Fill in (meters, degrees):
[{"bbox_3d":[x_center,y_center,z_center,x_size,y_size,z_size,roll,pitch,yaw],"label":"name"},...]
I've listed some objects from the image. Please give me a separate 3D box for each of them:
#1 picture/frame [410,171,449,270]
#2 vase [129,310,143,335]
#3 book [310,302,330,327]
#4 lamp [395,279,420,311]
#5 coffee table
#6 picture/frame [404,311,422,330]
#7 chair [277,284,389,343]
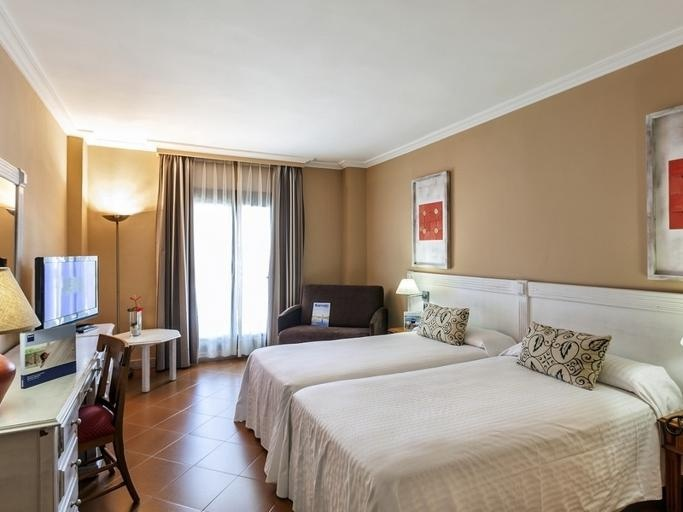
[{"bbox_3d":[1.109,-0.413,5.638,0.093,1.136,0.656,-2,1,-27],"label":"picture/frame"},{"bbox_3d":[-2.423,0.790,5.332,0.104,0.266,0.147,-2,1,-20],"label":"vase"},{"bbox_3d":[-0.297,0.846,6.326,0.292,0.414,0.044,-2,-24,18],"label":"book"},{"bbox_3d":[0.868,0.496,5.884,0.358,0.585,0.396,1,-1,8],"label":"lamp"},{"bbox_3d":[-2.229,1.099,5.394,0.936,0.756,0.968,1,-3,-23],"label":"coffee table"},{"bbox_3d":[0.858,0.796,5.432,0.199,0.193,0.029,-9,-26,-5],"label":"picture/frame"},{"bbox_3d":[-0.121,0.783,6.276,1.269,0.777,0.912,1,2,10],"label":"chair"}]
